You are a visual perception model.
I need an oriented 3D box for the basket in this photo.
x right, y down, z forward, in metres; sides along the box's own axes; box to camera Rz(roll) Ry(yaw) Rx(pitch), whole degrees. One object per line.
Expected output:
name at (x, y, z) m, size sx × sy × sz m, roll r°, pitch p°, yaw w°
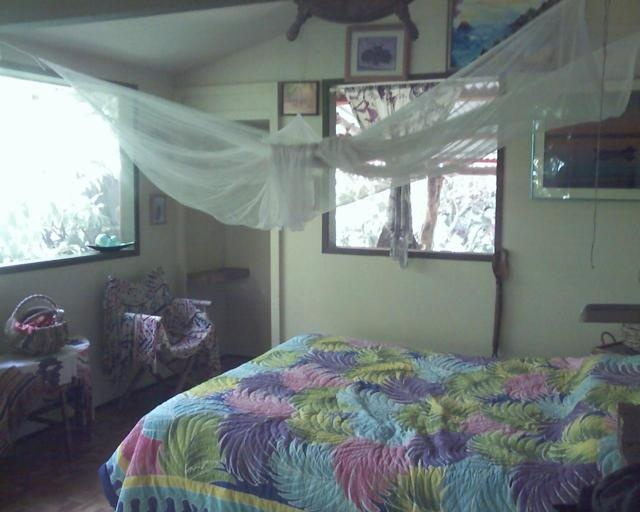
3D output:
basket at (-1.674, 0.392, 3.333) m, size 0.316 × 0.361 × 0.341 m, roll 1°, pitch -4°, yaw 10°

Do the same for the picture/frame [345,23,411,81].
picture/frame at (0.436, -1.487, 4.036) m, size 0.367 × 0.348 × 0.057 m, roll 2°, pitch 9°, yaw 19°

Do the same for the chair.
chair at (-1.103, 0.577, 4.266) m, size 0.773 × 1.185 × 0.848 m, roll 0°, pitch 1°, yaw 26°

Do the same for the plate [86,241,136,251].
plate at (-1.453, -0.063, 3.969) m, size 0.143 × 0.065 × 0.368 m, roll 2°, pitch 3°, yaw 41°
